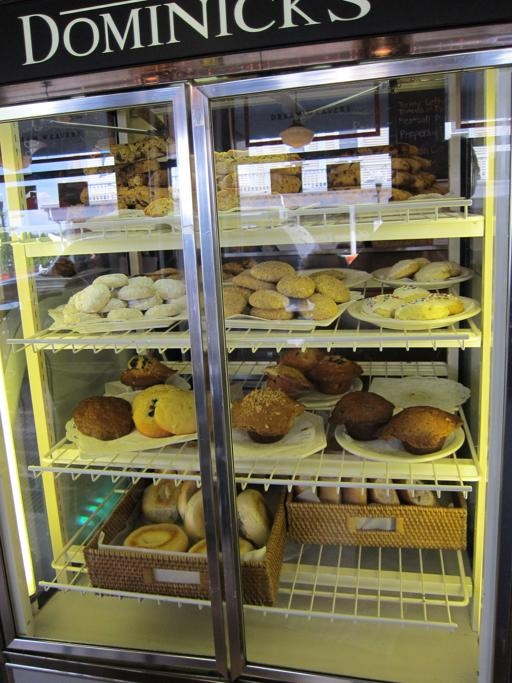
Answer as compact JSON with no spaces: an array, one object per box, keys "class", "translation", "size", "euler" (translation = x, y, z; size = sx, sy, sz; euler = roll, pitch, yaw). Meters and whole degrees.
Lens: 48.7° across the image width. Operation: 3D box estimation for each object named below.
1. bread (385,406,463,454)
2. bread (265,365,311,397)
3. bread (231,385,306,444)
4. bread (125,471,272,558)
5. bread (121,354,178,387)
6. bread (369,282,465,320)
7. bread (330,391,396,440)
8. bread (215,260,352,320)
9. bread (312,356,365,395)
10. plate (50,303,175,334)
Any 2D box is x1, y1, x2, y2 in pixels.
[{"class":"bread","translation":[0.389,0.213,1.334],"size":[0.179,0.119,0.116],"euler":[-4,17,10]},{"class":"bread","translation":[0.073,0.094,1.328],"size":[0.103,0.067,0.031],"euler":[14,-28,-26]},{"class":"bread","translation":[0.025,0.155,1.354],"size":[0.176,0.054,0.151],"euler":[14,43,35]},{"class":"bread","translation":[-0.151,0.494,1.563],"size":[0.276,0.060,0.267],"euler":[0,4,11]},{"class":"bread","translation":[-0.293,0.080,1.529],"size":[0.120,0.043,0.109],"euler":[-1,16,-11]},{"class":"bread","translation":[0.345,-0.082,1.225],"size":[0.199,0.073,0.040],"euler":[-5,18,5]},{"class":"bread","translation":[0.258,0.175,1.384],"size":[0.154,0.099,0.143],"euler":[10,27,32]},{"class":"bread","translation":[0.065,-0.126,1.225],"size":[0.198,0.054,0.157],"euler":[5,19,21]},{"class":"bread","translation":[0.184,0.069,1.328],"size":[0.110,0.057,0.102],"euler":[0,10,7]},{"class":"plate","translation":[-0.361,-0.049,1.407],"size":[0.204,0.025,0.129],"euler":[1,17,14]}]
